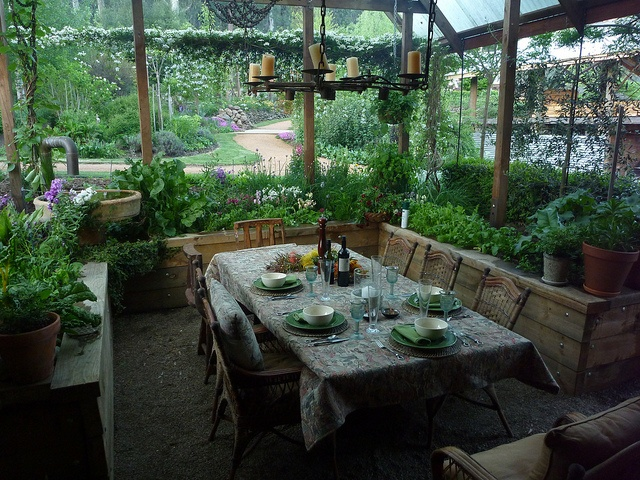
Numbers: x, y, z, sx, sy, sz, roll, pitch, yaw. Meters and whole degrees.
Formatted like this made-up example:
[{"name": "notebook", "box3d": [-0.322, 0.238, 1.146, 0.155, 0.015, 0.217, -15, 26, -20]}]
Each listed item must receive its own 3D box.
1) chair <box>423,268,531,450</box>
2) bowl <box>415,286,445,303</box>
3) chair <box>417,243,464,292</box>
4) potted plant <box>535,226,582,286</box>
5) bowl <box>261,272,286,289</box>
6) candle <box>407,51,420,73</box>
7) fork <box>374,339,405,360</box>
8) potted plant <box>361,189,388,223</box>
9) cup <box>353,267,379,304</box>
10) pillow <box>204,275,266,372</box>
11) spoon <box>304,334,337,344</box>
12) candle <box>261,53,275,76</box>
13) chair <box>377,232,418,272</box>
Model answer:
[{"name": "chair", "box3d": [1.069, 0.559, 3.137, 0.515, 0.671, 0.466, 23, 5, -44]}, {"name": "bowl", "box3d": [0.775, 0.377, 3.148, 0.154, 0.076, 0.162, 0, 8, 0]}, {"name": "chair", "box3d": [1.042, 0.233, 3.929, 0.296, 0.480, 0.303, -6, 21, -35]}, {"name": "potted plant", "box3d": [1.978, 0.115, 3.873, 0.329, 0.508, 0.370, 7, 4, -30]}, {"name": "bowl", "box3d": [-0.352, 0.299, 3.528, 0.123, 0.055, 0.113, 0, 5, 0]}, {"name": "candle", "box3d": [0.640, -1.211, 3.145, 0.076, 0.148, 0.185, 3, 19, 13]}, {"name": "fork", "box3d": [0.416, 0.650, 2.746, 0.022, 0.023, 0.155, -23, 34, -22]}, {"name": "potted plant", "box3d": [0.690, -0.430, 5.895, 0.366, 0.385, 0.305, 1, 18, 5]}, {"name": "cup", "box3d": [0.321, 0.312, 3.278, 0.179, 0.220, 0.186, -1, 13, 0]}, {"name": "pillow", "box3d": [-0.583, 0.460, 2.995, 0.200, 0.406, 0.720, -16, 26, -19]}, {"name": "spoon", "box3d": [0.005, 0.608, 2.853, 0.206, 0.032, 0.063, -2, 32, -36]}, {"name": "candle", "box3d": [-0.390, -1.283, 3.405, 0.094, 0.150, 0.108, -3, 18, -7]}, {"name": "chair", "box3d": [0.764, 0.107, 4.437, 0.283, 0.457, 0.267, -2, 28, -36]}]
